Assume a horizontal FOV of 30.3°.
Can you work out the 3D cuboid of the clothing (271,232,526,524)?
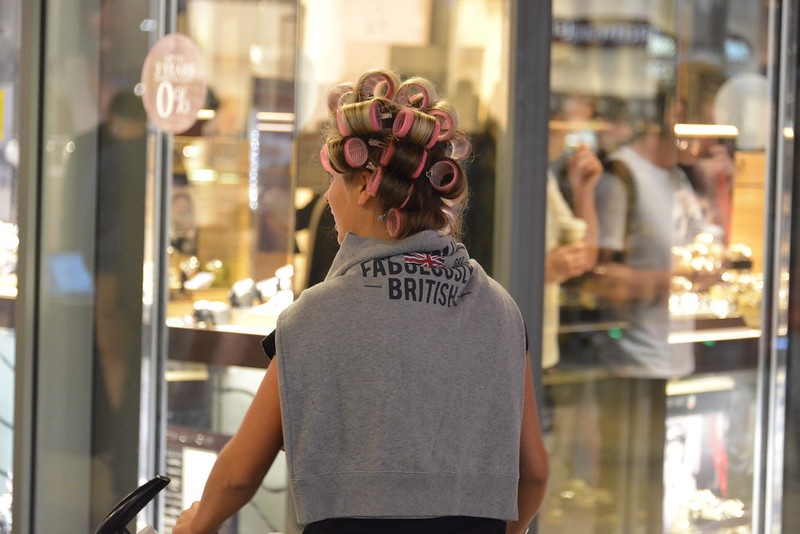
[{"bbox_3d":[0.012,0.341,4.304,0.900,0.949,0.482,-1,4,-6],"label":"clothing"}]

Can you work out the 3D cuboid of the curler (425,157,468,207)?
[{"bbox_3d":[0.143,-0.247,4.375,0.093,0.152,0.143,-23,-29,-8],"label":"curler"}]

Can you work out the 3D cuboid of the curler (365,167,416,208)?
[{"bbox_3d":[-0.040,-0.255,4.275,0.107,0.131,0.049,18,12,6],"label":"curler"}]

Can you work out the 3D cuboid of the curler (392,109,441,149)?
[{"bbox_3d":[0.046,-0.416,4.338,0.125,0.102,0.097,15,9,-20],"label":"curler"}]

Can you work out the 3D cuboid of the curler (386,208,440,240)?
[{"bbox_3d":[0.020,-0.130,4.310,0.102,0.047,0.078,2,33,-17],"label":"curler"}]

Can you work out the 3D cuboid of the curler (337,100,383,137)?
[{"bbox_3d":[-0.114,-0.441,4.355,0.117,0.097,0.093,-7,16,18],"label":"curler"}]

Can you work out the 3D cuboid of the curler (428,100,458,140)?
[{"bbox_3d":[0.132,-0.441,4.356,0.037,0.108,0.090,-11,5,-12],"label":"curler"}]

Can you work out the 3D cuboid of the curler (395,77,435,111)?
[{"bbox_3d":[0.029,-0.520,4.371,0.071,0.084,0.086,4,18,-1],"label":"curler"}]
